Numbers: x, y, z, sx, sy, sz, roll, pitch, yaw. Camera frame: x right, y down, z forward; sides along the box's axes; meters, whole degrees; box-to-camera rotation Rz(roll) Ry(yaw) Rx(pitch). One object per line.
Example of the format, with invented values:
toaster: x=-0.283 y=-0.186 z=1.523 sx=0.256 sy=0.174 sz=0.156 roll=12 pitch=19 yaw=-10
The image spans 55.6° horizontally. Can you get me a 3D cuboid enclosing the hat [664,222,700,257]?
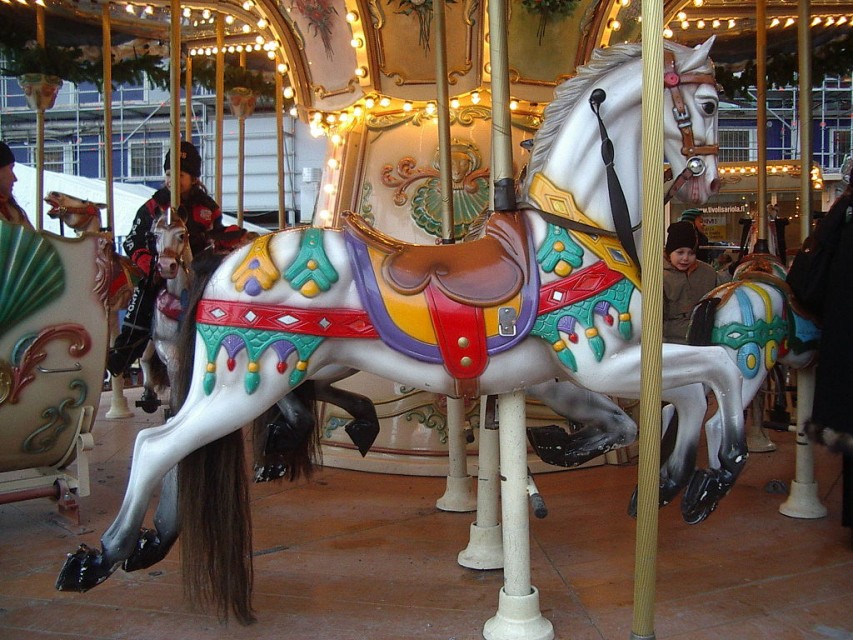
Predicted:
hat: x=1.978 y=-0.629 z=6.353 sx=0.207 sy=0.271 sz=0.264 roll=-1 pitch=1 yaw=-4
